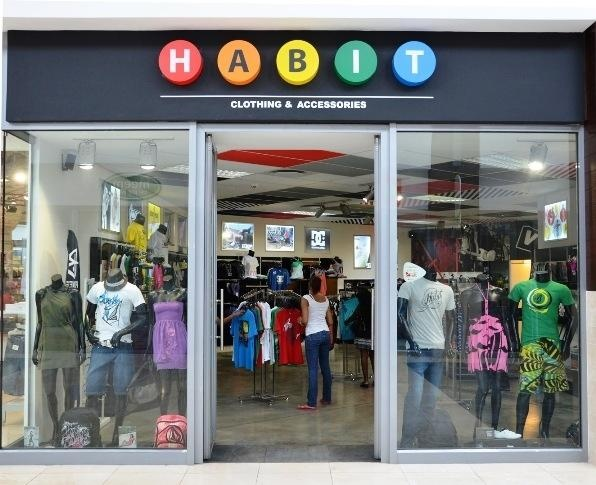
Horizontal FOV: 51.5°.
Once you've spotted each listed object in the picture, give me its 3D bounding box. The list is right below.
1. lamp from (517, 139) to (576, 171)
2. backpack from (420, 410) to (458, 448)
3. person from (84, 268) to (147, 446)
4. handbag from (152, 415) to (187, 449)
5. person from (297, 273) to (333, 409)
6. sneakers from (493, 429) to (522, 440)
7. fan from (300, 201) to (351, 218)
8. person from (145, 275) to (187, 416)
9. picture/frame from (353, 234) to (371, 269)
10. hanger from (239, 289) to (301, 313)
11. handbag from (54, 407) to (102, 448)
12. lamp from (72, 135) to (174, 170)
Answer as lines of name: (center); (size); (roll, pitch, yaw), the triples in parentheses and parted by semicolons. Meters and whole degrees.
lamp: (2.299, -0.811, 5.750); (0.531, 0.315, 0.090); (-1, -2, -1)
backpack: (1.265, 1.718, 5.587); (0.310, 0.339, 0.080); (-1, -5, -4)
person: (-1.646, 1.037, 5.608); (0.522, 1.556, 0.129); (-1, -2, 10)
handbag: (-1.145, 1.698, 5.540); (0.228, 0.351, 0.312); (0, -13, -5)
person: (0.233, 1.235, 7.664); (0.366, 1.606, 0.485); (-2, -2, 27)
sneakers: (1.930, 1.752, 5.675); (0.255, 0.109, 0.094); (-1, -5, 1)
fan: (0.589, -0.699, 13.968); (1.163, 0.252, 3.289); (-1, -2, 0)
person: (-1.169, 0.925, 5.589); (0.326, 1.259, 0.088); (-2, -2, 19)
picture/frame: (1.800, 0.273, 17.205); (0.515, 0.938, 0.732); (-1, -2, 5)
hanger: (-0.352, 0.812, 8.699); (0.752, 0.317, 1.775); (-1, -2, 1)
handbag: (-1.967, 1.678, 5.550); (0.311, 0.340, 0.325); (1, -4, 5)
lamp: (-1.675, -0.866, 5.744); (0.742, 0.293, 0.163); (-3, 37, -26)
